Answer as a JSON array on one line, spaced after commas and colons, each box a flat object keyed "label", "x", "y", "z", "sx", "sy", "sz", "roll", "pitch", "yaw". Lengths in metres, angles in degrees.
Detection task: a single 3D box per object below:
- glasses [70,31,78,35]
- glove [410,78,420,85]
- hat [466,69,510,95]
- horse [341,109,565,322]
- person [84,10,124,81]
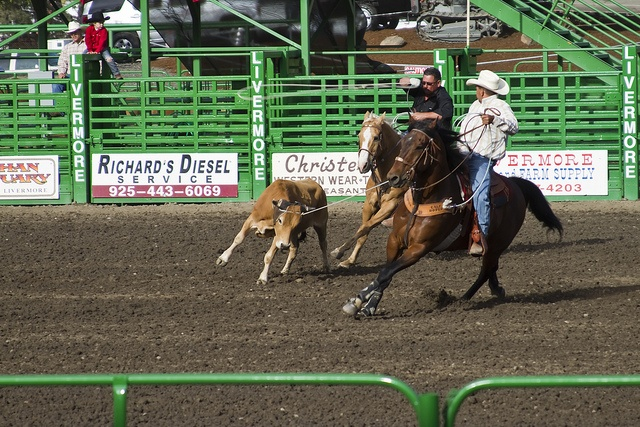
[{"label": "glasses", "x": -6.108, "y": -4.501, "z": 24.133, "sx": 0.135, "sy": 0.071, "sz": 0.466, "roll": -6, "pitch": 8, "yaw": -27}, {"label": "glove", "x": 1.625, "y": -2.263, "z": 16.594, "sx": 0.127, "sy": 0.101, "sz": 0.131, "roll": 0, "pitch": 4, "yaw": 43}, {"label": "hat", "x": 2.691, "y": -2.024, "z": 15.564, "sx": 0.479, "sy": 0.185, "sz": 0.486, "roll": 27, "pitch": 15, "yaw": 29}, {"label": "horse", "x": 2.067, "y": 0.026, "z": 15.652, "sx": 3.286, "sy": 3.077, "sz": 0.935, "roll": -7, "pitch": 8, "yaw": -35}, {"label": "person", "x": -5.274, "y": -4.078, "z": 23.544, "sx": 0.783, "sy": 1.594, "sz": 1.270, "roll": -4, "pitch": 7, "yaw": -14}]
